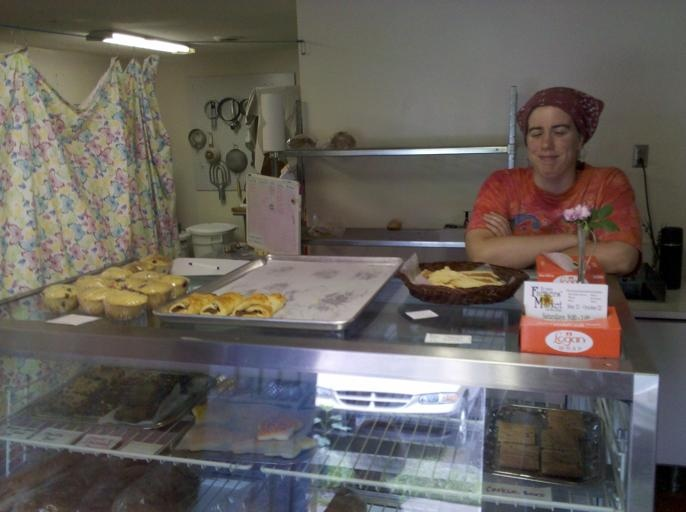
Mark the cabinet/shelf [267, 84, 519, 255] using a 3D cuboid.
[{"bbox_3d":[0.357,-0.197,2.867,1.369,0.988,0.520,1,4,15],"label":"cabinet/shelf"}]
